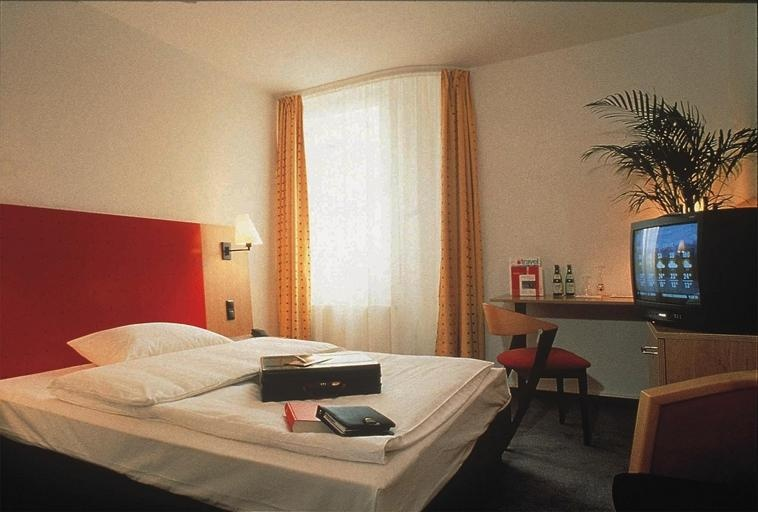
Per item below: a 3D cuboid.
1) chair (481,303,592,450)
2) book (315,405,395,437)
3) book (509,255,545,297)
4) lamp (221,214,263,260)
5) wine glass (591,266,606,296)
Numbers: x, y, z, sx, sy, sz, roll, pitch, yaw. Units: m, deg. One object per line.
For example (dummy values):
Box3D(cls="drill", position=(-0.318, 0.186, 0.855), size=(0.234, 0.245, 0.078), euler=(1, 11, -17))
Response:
Box3D(cls="chair", position=(1.259, 0.906, 4.507), size=(0.808, 1.010, 0.865), euler=(0, -1, -4))
Box3D(cls="book", position=(-0.115, 0.894, 2.992), size=(0.213, 0.059, 0.207), euler=(9, 2, -24))
Box3D(cls="book", position=(1.445, 0.206, 5.320), size=(0.282, 0.354, 0.295), euler=(-3, 0, 18))
Box3D(cls="lamp", position=(-1.325, -0.167, 5.420), size=(0.451, 0.363, 0.268), euler=(-14, -8, 15))
Box3D(cls="wine glass", position=(2.024, 0.225, 5.077), size=(0.089, 0.220, 0.131), euler=(-4, 0, 21))
